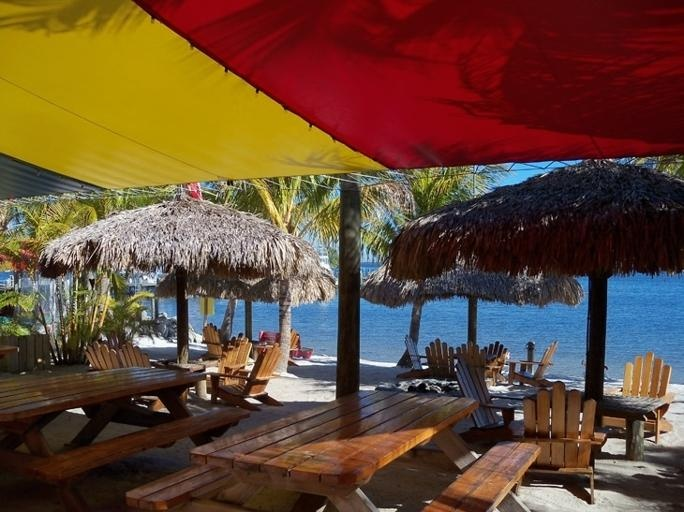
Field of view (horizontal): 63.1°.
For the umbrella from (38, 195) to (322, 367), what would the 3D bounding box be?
[{"bbox_3d":[-2.782,0.074,10.196,3.648,2.324,3.654,3,-5,-45],"label":"umbrella"}]
